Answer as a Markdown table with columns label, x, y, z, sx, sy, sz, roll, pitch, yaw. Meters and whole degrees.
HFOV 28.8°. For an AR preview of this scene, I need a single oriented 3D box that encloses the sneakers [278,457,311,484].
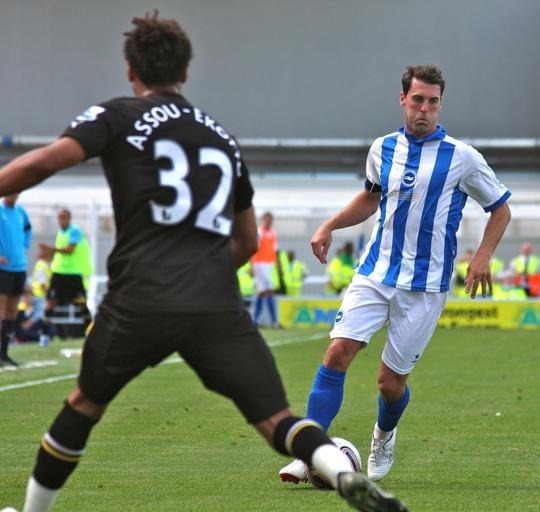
| label | x | y | z | sx | sy | sz | roll | pitch | yaw |
| --- | --- | --- | --- | --- | --- | --- | --- | --- | --- |
| sneakers | 0.136 | 1.230 | 5.901 | 0.088 | 0.101 | 0.228 | 3 | -1 | -22 |

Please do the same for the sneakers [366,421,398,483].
| label | x | y | z | sx | sy | sz | roll | pitch | yaw |
| --- | --- | --- | --- | --- | --- | --- | --- | --- | --- |
| sneakers | 0.652 | 1.143 | 6.109 | 0.122 | 0.339 | 0.151 | 5 | -5 | 26 |
